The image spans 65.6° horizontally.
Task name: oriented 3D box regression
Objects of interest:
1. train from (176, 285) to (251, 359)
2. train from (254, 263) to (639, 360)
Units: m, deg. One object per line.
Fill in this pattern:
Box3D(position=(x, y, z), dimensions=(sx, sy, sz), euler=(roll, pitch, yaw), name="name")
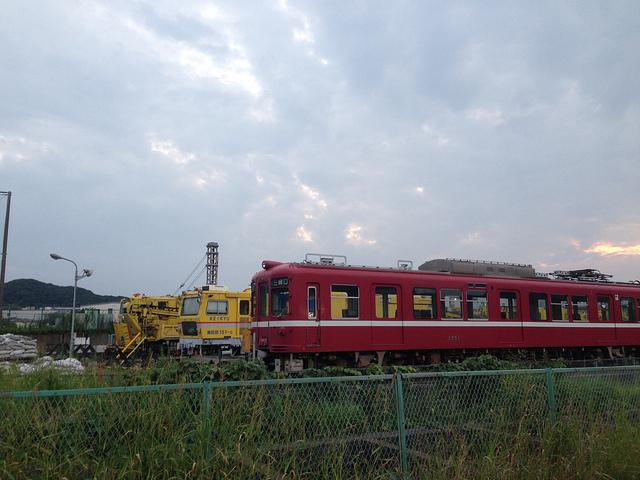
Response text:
Box3D(position=(-4.353, 4.009, 23.390), dimensions=(1.812, 3.309, 5.595), euler=(-2, -12, 25), name="train")
Box3D(position=(5.795, 2.496, 17.671), dimensions=(16.038, 3.111, 2.438), euler=(2, -3, -18), name="train")
